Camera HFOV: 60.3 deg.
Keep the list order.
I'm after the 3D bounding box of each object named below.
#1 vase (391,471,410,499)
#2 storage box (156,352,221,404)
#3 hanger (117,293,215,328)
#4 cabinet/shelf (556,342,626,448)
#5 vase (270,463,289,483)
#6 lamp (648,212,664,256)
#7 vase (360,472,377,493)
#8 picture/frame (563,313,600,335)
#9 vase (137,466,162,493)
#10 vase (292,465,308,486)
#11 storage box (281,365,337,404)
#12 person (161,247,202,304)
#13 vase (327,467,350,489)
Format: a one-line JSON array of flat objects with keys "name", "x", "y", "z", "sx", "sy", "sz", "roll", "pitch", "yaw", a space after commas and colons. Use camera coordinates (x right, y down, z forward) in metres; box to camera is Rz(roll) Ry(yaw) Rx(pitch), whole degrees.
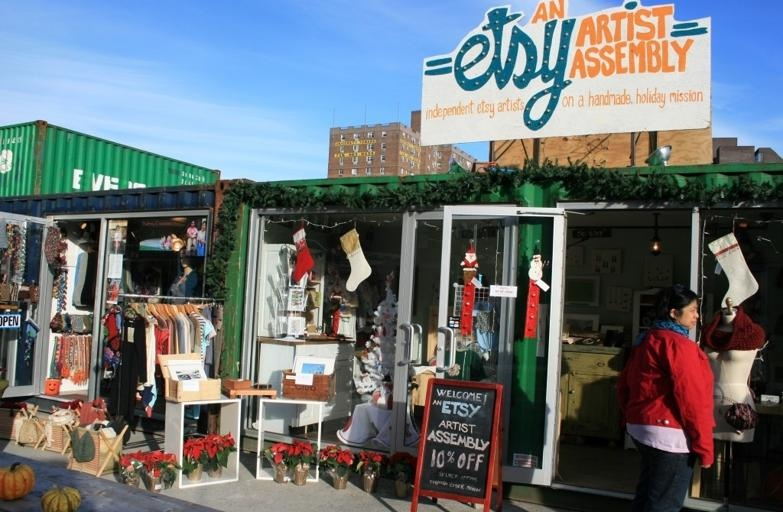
[{"name": "vase", "x": 0.144, "y": 2.696, "z": 8.071, "sx": 0.265, "sy": 0.360, "sz": 0.270, "roll": -2, "pitch": 0, "yaw": 11}, {"name": "storage box", "x": -2.512, "y": 1.492, "z": 8.368, "sx": 0.567, "sy": 0.519, "sz": 0.578, "roll": -3, "pitch": -8, "yaw": 43}, {"name": "hanger", "x": -3.061, "y": 0.738, "z": 9.313, "sx": 1.132, "sy": 0.398, "sz": 1.296, "roll": 3, "pitch": -3, "yaw": -15}, {"name": "cabinet/shelf", "x": 2.938, "y": 2.250, "z": 10.238, "sx": 1.078, "sy": 1.678, "sz": 0.661, "roll": 8, "pitch": -33, "yaw": 7}, {"name": "vase", "x": -1.357, "y": 2.632, "z": 8.283, "sx": 0.206, "sy": 0.181, "sz": 0.212, "roll": 2, "pitch": -1, "yaw": -32}, {"name": "lamp", "x": 4.098, "y": -0.319, "z": 10.415, "sx": 0.183, "sy": 0.581, "sz": 0.739, "roll": 0, "pitch": -3, "yaw": 21}, {"name": "vase", "x": -0.252, "y": 2.713, "z": 8.157, "sx": 0.164, "sy": 0.238, "sz": 0.251, "roll": -1, "pitch": -7, "yaw": 9}, {"name": "picture/frame", "x": 3.110, "y": 1.104, "z": 10.900, "sx": 0.491, "sy": 0.349, "sz": 0.022, "roll": 2, "pitch": -12, "yaw": 25}, {"name": "vase", "x": -2.857, "y": 2.594, "z": 7.932, "sx": 0.205, "sy": 0.246, "sz": 0.429, "roll": 5, "pitch": -4, "yaw": -44}, {"name": "vase", "x": -1.107, "y": 2.638, "z": 8.188, "sx": 0.222, "sy": 0.247, "sz": 0.224, "roll": 2, "pitch": -6, "yaw": -10}, {"name": "storage box", "x": -1.033, "y": 1.677, "z": 8.773, "sx": 0.681, "sy": 0.372, "sz": 0.399, "roll": 3, "pitch": -4, "yaw": 12}, {"name": "person", "x": -3.075, "y": 0.286, "z": 9.953, "sx": 0.420, "sy": 1.048, "sz": 0.672, "roll": 14, "pitch": -15, "yaw": -42}, {"name": "vase", "x": -0.634, "y": 2.669, "z": 8.222, "sx": 0.266, "sy": 0.195, "sz": 0.235, "roll": 4, "pitch": -4, "yaw": -42}]
